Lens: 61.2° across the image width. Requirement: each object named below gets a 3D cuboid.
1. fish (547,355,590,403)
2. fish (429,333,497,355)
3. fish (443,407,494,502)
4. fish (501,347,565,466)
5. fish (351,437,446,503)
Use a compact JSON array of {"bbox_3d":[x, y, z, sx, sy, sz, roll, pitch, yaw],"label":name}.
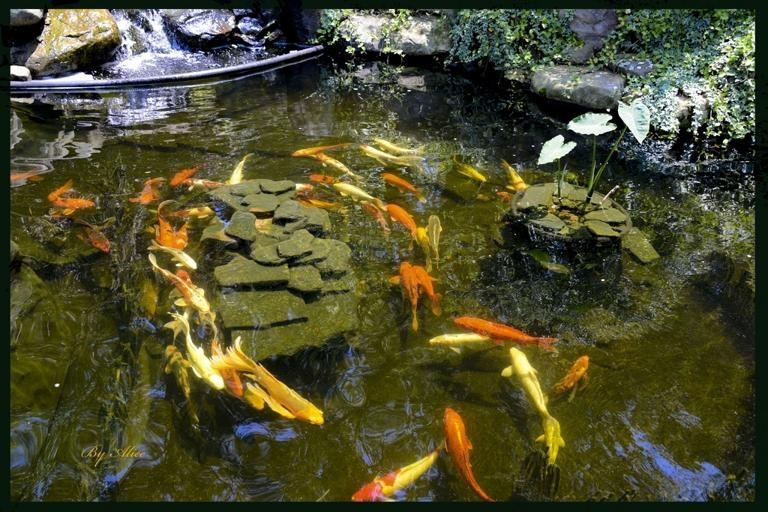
[{"bbox_3d":[1.897,1.328,6.901,0.226,0.267,0.691,12,38,42],"label":"fish"},{"bbox_3d":[0.842,0.943,7.153,0.874,0.340,0.227,2,69,3],"label":"fish"},{"bbox_3d":[0.763,1.897,6.560,0.302,0.427,1.069,-12,64,3],"label":"fish"},{"bbox_3d":[1.535,1.517,6.796,0.487,0.323,1.254,-4,57,-13],"label":"fish"},{"bbox_3d":[0.152,2.243,6.513,1.125,0.333,0.451,-27,85,2],"label":"fish"}]
